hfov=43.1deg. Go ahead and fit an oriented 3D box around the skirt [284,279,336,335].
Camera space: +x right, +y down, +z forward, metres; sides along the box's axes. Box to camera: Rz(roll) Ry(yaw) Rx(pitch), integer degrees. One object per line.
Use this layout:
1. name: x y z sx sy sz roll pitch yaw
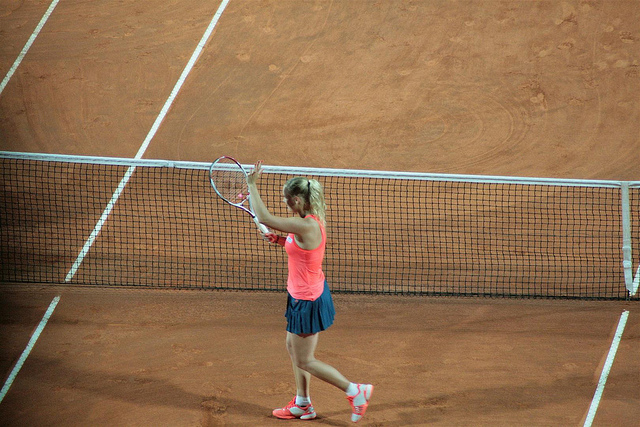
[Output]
1. skirt: -0.179 1.446 12.174 0.662 0.603 0.958 0 9 2
